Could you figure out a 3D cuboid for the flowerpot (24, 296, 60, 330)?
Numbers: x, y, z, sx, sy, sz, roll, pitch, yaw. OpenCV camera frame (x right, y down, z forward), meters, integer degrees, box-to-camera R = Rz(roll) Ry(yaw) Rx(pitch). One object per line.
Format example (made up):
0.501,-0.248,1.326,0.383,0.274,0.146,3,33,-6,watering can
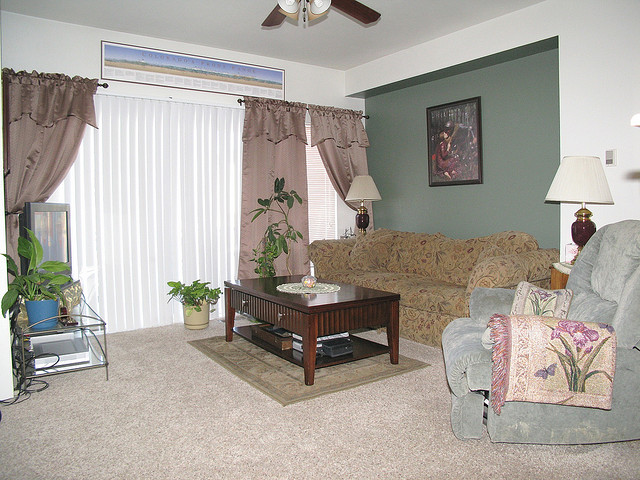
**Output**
-2.165,0.564,3.829,0.224,0.240,0.197,-7,13,-30,flowerpot

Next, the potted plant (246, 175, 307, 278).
-0.537,-0.153,6.034,0.657,1.261,0.813,2,12,13,potted plant

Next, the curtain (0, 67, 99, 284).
-2.746,-0.741,4.972,0.926,1.922,0.339,-9,14,-39,curtain

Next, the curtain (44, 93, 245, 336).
-1.949,-0.283,5.259,2.454,2.625,0.178,-4,8,-35,curtain

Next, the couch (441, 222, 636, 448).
1.458,0.469,3.434,1.276,1.438,1.358,1,4,18,couch

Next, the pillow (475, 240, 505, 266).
1.770,0.119,4.987,0.239,0.191,0.251,7,13,33,pillow

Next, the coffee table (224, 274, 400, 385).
-0.110,0.660,4.398,0.983,0.697,1.430,-8,14,-35,coffee table

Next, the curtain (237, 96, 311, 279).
-0.580,-0.654,6.135,1.017,2.214,0.510,-4,12,-18,curtain

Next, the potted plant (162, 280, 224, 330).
-1.356,0.687,5.387,0.681,0.553,0.518,-1,2,-40,potted plant

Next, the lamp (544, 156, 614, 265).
2.136,-0.251,3.979,0.452,0.845,0.452,2,8,22,lamp

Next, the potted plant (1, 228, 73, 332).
-2.205,0.309,3.867,0.432,0.732,0.776,-6,13,-28,potted plant

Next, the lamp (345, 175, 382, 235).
0.575,-0.472,6.423,0.436,0.744,0.485,0,11,4,lamp

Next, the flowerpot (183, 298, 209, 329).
-1.319,0.792,5.304,0.276,0.280,0.286,0,-2,13,flowerpot

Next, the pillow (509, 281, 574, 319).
1.484,0.420,3.273,0.371,0.224,0.269,4,12,22,pillow
